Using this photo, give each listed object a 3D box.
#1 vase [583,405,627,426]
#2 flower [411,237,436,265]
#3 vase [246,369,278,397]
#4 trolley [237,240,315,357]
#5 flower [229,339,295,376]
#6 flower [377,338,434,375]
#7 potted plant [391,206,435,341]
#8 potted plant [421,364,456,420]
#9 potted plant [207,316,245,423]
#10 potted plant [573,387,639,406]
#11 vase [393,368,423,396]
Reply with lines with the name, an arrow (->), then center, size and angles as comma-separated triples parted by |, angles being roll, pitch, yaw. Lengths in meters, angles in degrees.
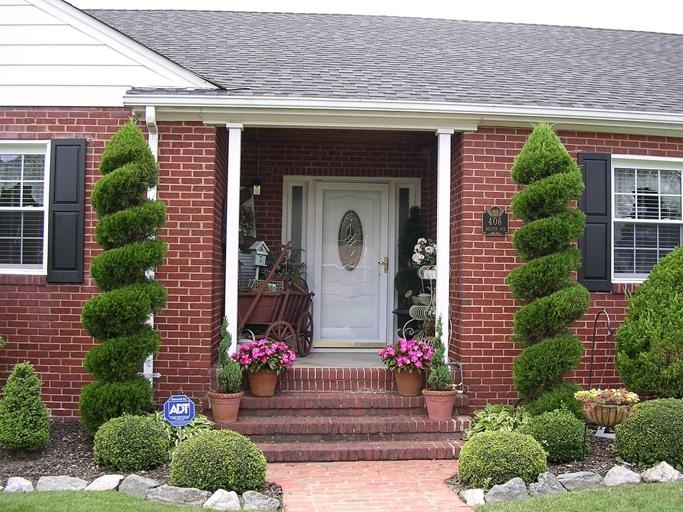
vase -> 3.063, 1.828, 9.652 | 0.302, 0.180, 0.314 | -1, -4, -4
flower -> 1.180, -0.068, 11.757 | 0.330, 0.408, 0.357 | 0, -6, -1
vase -> -0.962, 1.544, 10.120 | 0.319, 0.252, 0.326 | 1, -9, -3
trolley -> -0.968, 0.721, 11.468 | 0.928, 1.341, 1.630 | 2, -12, 15
flower -> -0.999, 1.220, 10.269 | 0.642, 0.407, 0.620 | -7, 8, 19
flower -> 0.840, 1.228, 10.361 | 0.594, 0.352, 0.509 | -9, 19, -24
potted plant -> 1.166, 0.229, 12.401 | 0.709, 1.965, 0.721 | -2, 5, 5
potted plant -> 1.186, 1.657, 10.018 | 0.528, 0.800, 0.557 | 0, -6, 0
potted plant -> -1.355, 1.351, 9.867 | 0.380, 1.205, 0.290 | 2, -1, -7
potted plant -> 3.048, 1.627, 9.629 | 0.339, 0.141, 0.366 | 3, -4, -42
vase -> 0.838, 1.546, 10.266 | 0.312, 0.252, 0.326 | 1, -7, -1
